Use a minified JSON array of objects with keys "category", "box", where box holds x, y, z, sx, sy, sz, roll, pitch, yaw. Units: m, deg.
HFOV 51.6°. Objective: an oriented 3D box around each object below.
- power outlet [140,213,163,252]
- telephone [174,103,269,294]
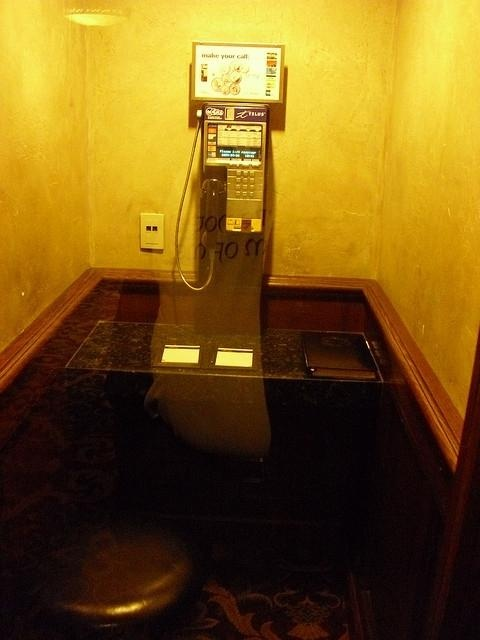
[{"category":"power outlet","box":[-0.152,-0.153,0.848,0.051,0.087,0.009,1,26,-2]},{"category":"telephone","box":[-0.022,-0.231,0.840,0.171,0.386,0.189,1,31,0]}]
